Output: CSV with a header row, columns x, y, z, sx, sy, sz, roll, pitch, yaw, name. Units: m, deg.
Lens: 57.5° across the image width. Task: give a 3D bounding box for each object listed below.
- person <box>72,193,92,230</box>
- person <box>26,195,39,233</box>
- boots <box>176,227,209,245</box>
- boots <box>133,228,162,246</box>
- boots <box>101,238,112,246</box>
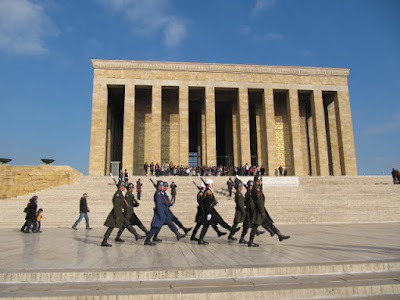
x,y,z,sx,sy,sz,roll,pitch,yaw,name
-5.003,2.604,15.618,0.750,1.523,1.893,1,-4,-17,person
-6.553,2.507,14.200,0.427,1.402,0.428,2,-4,-25,person
-0.112,2.608,10.930,0.607,0.537,0.801,4,-4,-36,boots
-1.573,2.572,10.957,0.799,0.538,0.779,0,-4,-7,boots
-2.724,2.692,10.650,0.323,0.210,0.346,1,-4,-15,boots
